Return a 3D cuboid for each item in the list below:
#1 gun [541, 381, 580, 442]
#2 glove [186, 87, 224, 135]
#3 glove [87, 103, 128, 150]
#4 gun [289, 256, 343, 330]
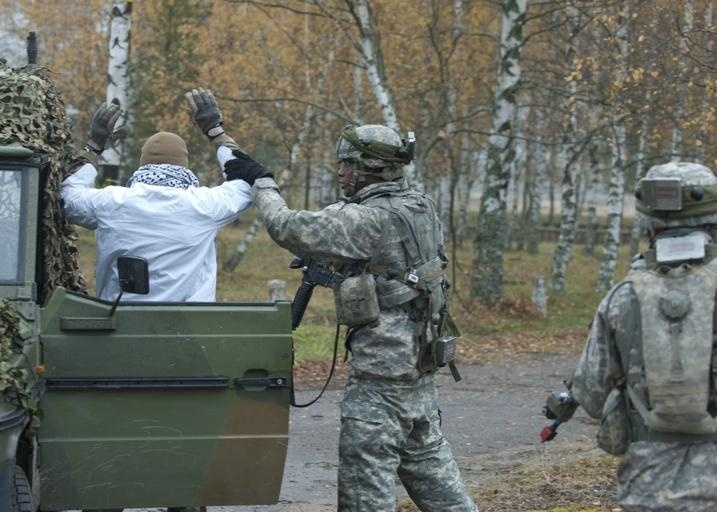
[{"bbox_3d":[3.355,2.534,33.867,0.722,0.904,0.907,4,4,3],"label":"gun"},{"bbox_3d":[-2.595,-2.401,34.459,0.536,0.828,0.469,-8,16,-30],"label":"glove"},{"bbox_3d":[-4.399,-2.131,34.762,0.508,0.844,0.559,1,0,29],"label":"glove"},{"bbox_3d":[-0.835,0.526,34.235,0.904,1.243,0.733,-3,12,-20],"label":"gun"}]
